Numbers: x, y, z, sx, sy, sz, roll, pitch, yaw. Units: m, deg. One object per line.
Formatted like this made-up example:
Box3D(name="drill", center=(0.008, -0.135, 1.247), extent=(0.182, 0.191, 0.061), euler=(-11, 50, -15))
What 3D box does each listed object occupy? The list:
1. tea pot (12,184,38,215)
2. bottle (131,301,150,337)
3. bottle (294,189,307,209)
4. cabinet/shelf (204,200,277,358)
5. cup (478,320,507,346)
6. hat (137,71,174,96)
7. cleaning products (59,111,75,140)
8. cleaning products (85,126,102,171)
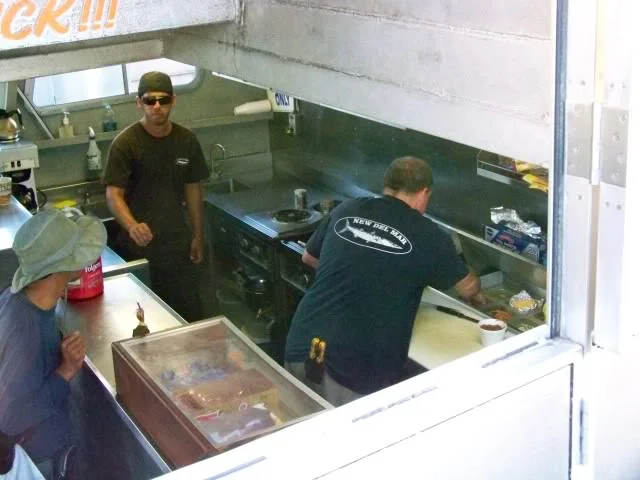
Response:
Box3D(name="tea pot", center=(-1.442, -0.203, 2.669), extent=(0.095, 0.132, 0.050), euler=(24, 51, 34))
Box3D(name="bottle", center=(-0.544, 0.243, 1.645), extent=(0.056, 0.080, 0.050), euler=(-12, 18, -20))
Box3D(name="bottle", center=(-0.105, -0.238, 3.115), extent=(0.105, 0.103, 0.088), euler=(1, 31, 4))
Box3D(name="cabinet/shelf", center=(-0.390, 0.149, 2.761), extent=(0.241, 0.550, 0.604), euler=(-30, 49, -29))
Box3D(name="cup", center=(0.379, 0.194, 1.208), extent=(0.059, 0.042, 0.060), euler=(-1, 22, 0))
Box3D(name="hat", center=(-0.759, -0.715, 2.488), extent=(0.123, 0.076, 0.123), euler=(-2, 19, -6))
Box3D(name="cleaning products", center=(-1.587, -0.715, 3.389), extent=(0.079, 0.163, 0.042), euler=(-7, 19, -13))
Box3D(name="cleaning products", center=(-1.460, -0.574, 3.486), extent=(0.096, 0.279, 0.092), euler=(-9, 20, -18))
